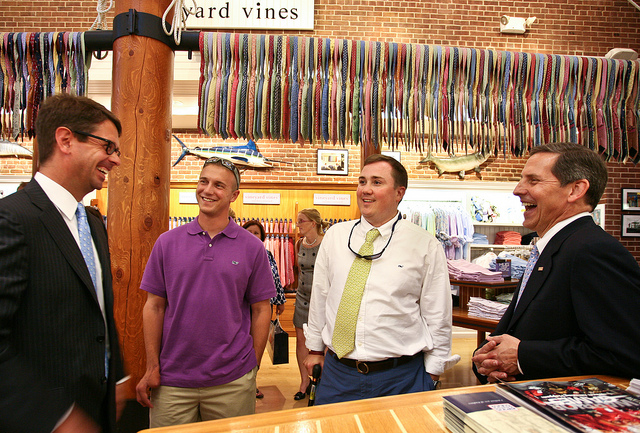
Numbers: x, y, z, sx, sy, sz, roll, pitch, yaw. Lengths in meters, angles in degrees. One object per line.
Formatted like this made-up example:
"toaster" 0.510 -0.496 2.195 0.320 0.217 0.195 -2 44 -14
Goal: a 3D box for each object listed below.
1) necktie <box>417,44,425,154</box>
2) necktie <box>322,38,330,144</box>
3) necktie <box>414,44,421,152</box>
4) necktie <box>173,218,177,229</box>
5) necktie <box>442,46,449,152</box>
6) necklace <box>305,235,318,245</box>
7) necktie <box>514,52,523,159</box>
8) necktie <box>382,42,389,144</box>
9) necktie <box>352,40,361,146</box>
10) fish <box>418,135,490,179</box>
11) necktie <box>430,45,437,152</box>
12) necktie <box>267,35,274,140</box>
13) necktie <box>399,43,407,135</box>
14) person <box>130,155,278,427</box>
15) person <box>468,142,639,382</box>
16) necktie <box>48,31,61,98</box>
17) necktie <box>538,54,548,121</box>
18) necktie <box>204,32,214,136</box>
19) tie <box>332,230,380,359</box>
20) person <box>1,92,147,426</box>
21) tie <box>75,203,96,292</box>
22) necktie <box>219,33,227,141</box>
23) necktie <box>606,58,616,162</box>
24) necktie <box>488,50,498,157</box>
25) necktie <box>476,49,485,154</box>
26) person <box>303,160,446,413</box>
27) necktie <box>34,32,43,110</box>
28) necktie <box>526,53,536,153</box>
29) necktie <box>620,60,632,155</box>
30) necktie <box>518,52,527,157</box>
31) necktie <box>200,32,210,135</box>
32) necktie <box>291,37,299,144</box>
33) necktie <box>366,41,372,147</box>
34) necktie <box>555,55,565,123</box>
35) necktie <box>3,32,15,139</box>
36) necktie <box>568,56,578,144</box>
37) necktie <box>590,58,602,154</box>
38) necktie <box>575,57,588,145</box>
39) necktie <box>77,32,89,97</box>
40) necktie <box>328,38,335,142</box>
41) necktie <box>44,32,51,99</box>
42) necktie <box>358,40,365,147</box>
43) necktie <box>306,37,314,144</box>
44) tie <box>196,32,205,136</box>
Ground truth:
"necktie" 0.707 -0.872 3.931 0.064 0.616 0.057 0 2 -2
"necktie" 0.046 -0.882 3.877 0.057 0.630 0.049 2 4 13
"necktie" 0.680 -0.893 3.930 0.040 0.578 0.087 3 11 30
"necktie" -2.208 0.072 8.473 0.059 0.083 0.141 -5 12 -15
"necktie" 0.888 -0.825 3.958 0.043 0.709 0.089 0 10 14
"necklace" -0.113 0.249 5.969 0.145 0.070 0.089 2 12 21
"necktie" 1.409 -0.792 3.983 0.050 0.713 0.146 1 10 19
"necktie" 0.441 -0.889 3.898 0.063 0.575 0.058 2 7 4
"necktie" 0.253 -0.854 3.897 0.056 0.687 0.135 0 10 15
"fish" 2.193 -0.875 8.901 1.081 0.641 0.367 -6 -2 2
"necktie" 0.778 -0.854 3.946 0.057 0.613 0.064 2 10 4
"necktie" -0.351 -0.907 3.855 0.056 0.573 0.030 0 1 -4
"necktie" 0.562 -0.883 3.930 0.054 0.586 0.056 11 16 43
"person" -0.747 0.471 3.621 0.917 1.620 0.455 -7 11 -23
"person" 1.348 0.283 3.215 0.811 1.339 0.546 1 11 18
"necktie" -1.821 -1.031 3.805 0.056 0.403 0.093 5 12 35
"necktie" 1.583 -0.910 3.982 0.111 0.446 0.038 -12 14 -43
"necktie" -0.772 -0.942 3.829 0.067 0.548 0.057 0 0 10
"tie" 0.259 0.429 3.715 0.150 0.995 0.046 3 -24 34
"person" -1.407 0.247 3.025 0.807 1.774 0.486 -11 13 -41
"tie" -1.319 0.134 3.144 0.080 0.652 0.066 -17 -20 13
"necktie" -0.669 -0.919 3.839 0.082 0.617 0.069 1 0 -12
"necktie" 2.059 -0.781 3.997 0.083 0.649 0.054 0 2 -15
"necktie" 1.238 -0.811 4.004 0.064 0.687 0.069 1 2 6
"necktie" 1.130 -0.854 3.972 0.055 0.588 0.060 2 13 9
"person" 0.402 0.865 3.917 0.915 2.634 0.614 3 14 12
"necktie" -1.913 -1.024 3.815 0.051 0.407 0.038 3 7 15
"necktie" 1.493 -0.809 3.970 0.058 0.655 0.161 1 11 20
"necktie" 2.184 -0.770 4.001 0.060 0.644 0.133 3 11 29
"necktie" 1.423 -0.788 3.969 0.059 0.657 0.069 0 6 6
"necktie" -0.791 -0.942 3.823 0.069 0.590 0.071 2 1 13
"necktie" -0.179 -0.849 3.843 0.065 0.653 0.032 1 6 3
"necktie" 0.340 -0.854 3.890 0.045 0.675 0.147 -1 10 10
"necktie" 1.708 -0.899 3.989 0.053 0.455 0.115 4 12 31
"necktie" -2.131 -0.910 3.847 0.075 0.610 0.063 2 5 15
"necktie" 1.801 -0.826 3.978 0.067 0.585 0.155 2 11 25
"necktie" 1.964 -0.797 3.993 0.064 0.632 0.136 3 11 29
"necktie" 1.859 -0.811 3.988 0.079 0.600 0.067 1 4 14
"necktie" -1.604 -1.027 3.803 0.074 0.372 0.057 -2 4 -2
"necktie" 0.074 -0.898 3.904 0.053 0.585 0.029 1 0 2
"necktie" -1.857 -1.030 3.813 0.048 0.386 0.037 2 4 3
"necktie" 0.283 -0.895 3.904 0.025 0.570 0.059 2 5 19
"necktie" -0.073 -0.901 3.875 0.055 0.594 0.039 1 2 9
"tie" -0.816 -0.908 3.862 0.072 0.622 0.085 0 3 -5
